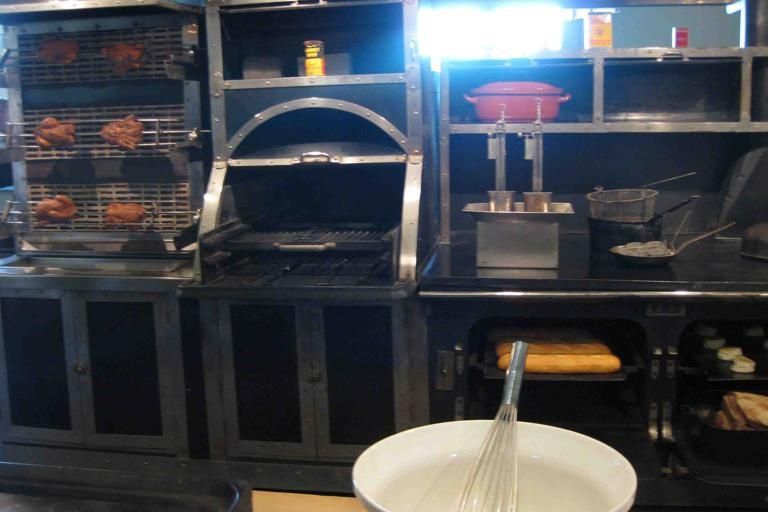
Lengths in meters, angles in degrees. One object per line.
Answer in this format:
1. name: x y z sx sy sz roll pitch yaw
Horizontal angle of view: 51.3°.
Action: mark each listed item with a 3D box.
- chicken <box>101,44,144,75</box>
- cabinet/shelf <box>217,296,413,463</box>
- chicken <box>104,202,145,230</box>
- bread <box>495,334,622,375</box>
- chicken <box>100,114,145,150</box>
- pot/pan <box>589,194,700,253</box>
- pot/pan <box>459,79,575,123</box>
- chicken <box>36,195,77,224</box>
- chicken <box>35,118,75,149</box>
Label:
1. chicken: -1.322 -1.023 4.130 0.198 0.162 0.057 1 12 19
2. cabinet/shelf: -0.289 0.555 3.829 1.365 0.704 0.409 0 4 4
3. chicken: -1.327 -0.225 4.178 0.206 0.112 0.079 -3 10 -11
4. bread: 0.890 0.482 3.806 0.435 0.111 0.208 -1 8 3
5. chicken: -1.322 -0.640 4.135 0.223 0.174 0.104 0 11 11
6. pot/pan: 1.372 -0.190 4.273 0.683 0.260 0.333 -1 -2 -14
7. pot/pan: 0.719 -0.833 4.365 0.600 0.133 0.253 -3 3 -4
8. chicken: -1.705 -0.246 4.216 0.203 0.146 0.074 -4 11 -12
9. chicken: -1.694 -0.648 4.180 0.216 0.164 0.120 3 12 28
